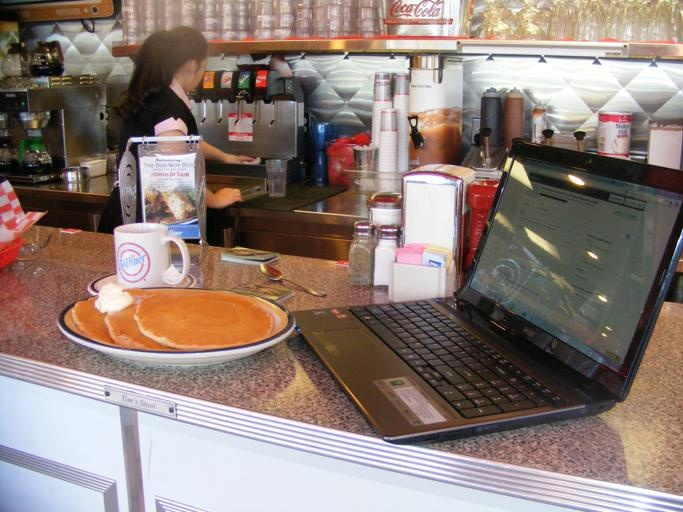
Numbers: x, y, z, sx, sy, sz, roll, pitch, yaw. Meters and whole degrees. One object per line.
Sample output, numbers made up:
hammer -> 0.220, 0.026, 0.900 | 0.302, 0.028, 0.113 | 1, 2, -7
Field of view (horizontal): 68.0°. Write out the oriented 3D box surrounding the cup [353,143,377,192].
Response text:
cup -> 0.126, -0.462, 2.658 | 0.198, 0.232, 0.220 | 4, 24, 6

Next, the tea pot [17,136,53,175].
tea pot -> -1.931, -0.645, 3.137 | 0.186, 0.232, 0.218 | 12, 21, 4

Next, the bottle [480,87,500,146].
bottle -> 0.833, -0.774, 2.813 | 0.124, 0.310, 0.167 | 3, 21, 12

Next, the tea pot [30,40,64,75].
tea pot -> -1.965, -1.317, 3.387 | 0.218, 0.216, 0.183 | 1, 25, -12

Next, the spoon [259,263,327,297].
spoon -> -0.146, 0.043, 1.289 | 0.063, 0.034, 0.295 | -13, 18, -37

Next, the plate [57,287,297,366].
plate -> -0.284, 0.113, 0.922 | 0.342, 0.032, 0.311 | 2, 15, -23

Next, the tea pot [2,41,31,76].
tea pot -> -2.199, -1.324, 3.399 | 0.171, 0.230, 0.330 | -12, 22, -26

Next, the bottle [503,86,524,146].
bottle -> 0.938, -0.752, 2.752 | 0.115, 0.302, 0.197 | 4, 21, 15

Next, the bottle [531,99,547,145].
bottle -> 1.057, -0.715, 2.716 | 0.073, 0.184, 0.117 | 5, 22, 18

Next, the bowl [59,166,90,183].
bowl -> -1.650, -0.501, 3.107 | 0.151, 0.070, 0.132 | 3, 10, 4

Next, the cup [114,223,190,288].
cup -> -0.440, 0.014, 1.133 | 0.197, 0.115, 0.113 | 2, -5, -33
